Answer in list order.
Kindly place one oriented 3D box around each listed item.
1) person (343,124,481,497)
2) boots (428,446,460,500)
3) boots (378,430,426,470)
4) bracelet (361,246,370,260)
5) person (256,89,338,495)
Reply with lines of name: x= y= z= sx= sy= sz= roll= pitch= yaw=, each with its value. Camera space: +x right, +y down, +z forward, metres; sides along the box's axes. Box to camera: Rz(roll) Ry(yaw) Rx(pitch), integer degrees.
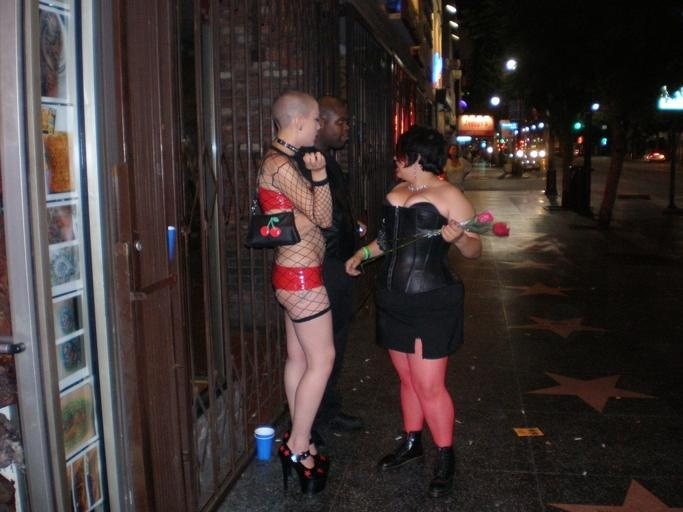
person: x=0.514 y=0.338 z=3.638 sx=0.725 sy=2.349 sz=0.477 roll=4 pitch=11 yaw=24
boots: x=0.668 y=1.397 z=3.621 sx=0.120 sy=0.249 sz=0.342 roll=-1 pitch=8 yaw=30
boots: x=0.435 y=1.348 z=3.895 sx=0.358 sy=0.287 sz=0.158 roll=-11 pitch=25 yaw=-20
bracelet: x=0.171 y=-0.021 z=3.883 sx=0.040 sy=0.080 sz=0.056 roll=-3 pitch=-4 yaw=41
person: x=-0.276 y=0.267 z=3.472 sx=0.456 sy=2.535 sz=0.475 roll=-2 pitch=10 yaw=-7
